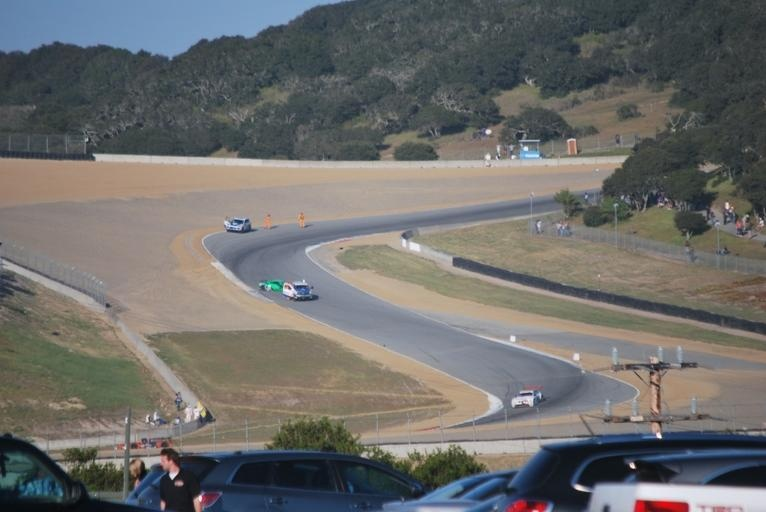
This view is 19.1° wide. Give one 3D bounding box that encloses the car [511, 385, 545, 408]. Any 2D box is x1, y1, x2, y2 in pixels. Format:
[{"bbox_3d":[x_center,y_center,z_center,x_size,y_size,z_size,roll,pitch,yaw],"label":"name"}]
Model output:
[{"bbox_3d":[28.080,27.002,438.940,6.164,3.408,2.295,-5,5,0],"label":"car"}]
